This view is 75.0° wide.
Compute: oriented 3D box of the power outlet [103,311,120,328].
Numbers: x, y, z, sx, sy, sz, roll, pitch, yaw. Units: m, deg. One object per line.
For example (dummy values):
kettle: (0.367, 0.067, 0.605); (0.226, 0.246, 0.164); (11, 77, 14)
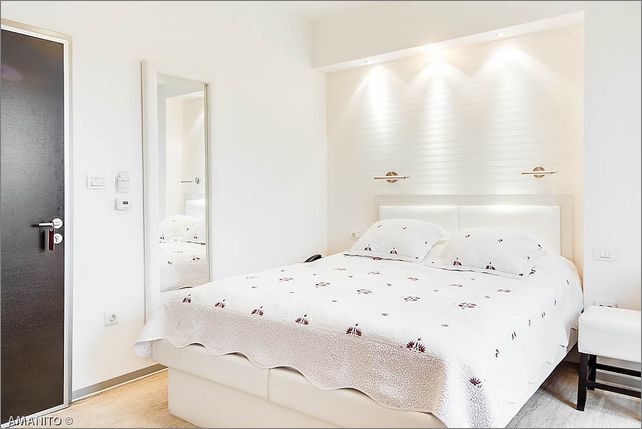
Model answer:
power outlet: (-1.692, 0.842, 3.366); (0.032, 0.101, 0.117); (4, 0, 38)

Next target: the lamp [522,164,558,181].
lamp: (2.096, -0.410, 4.001); (0.316, 0.123, 0.059); (2, 2, 32)

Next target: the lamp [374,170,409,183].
lamp: (0.796, -0.433, 4.786); (0.425, 0.145, 0.145); (2, 2, 42)
